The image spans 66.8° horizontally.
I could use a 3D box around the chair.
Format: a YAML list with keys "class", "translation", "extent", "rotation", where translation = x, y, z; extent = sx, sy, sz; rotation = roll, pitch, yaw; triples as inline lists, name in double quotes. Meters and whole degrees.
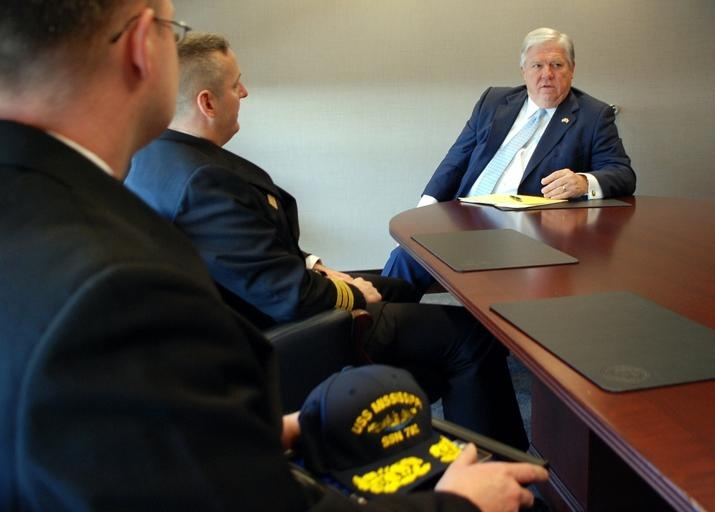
- class: "chair"
  translation: [-0.096, 0.214, 1.419]
  extent: [0.222, 0.347, 0.253]
  rotation: [-8, 13, -23]

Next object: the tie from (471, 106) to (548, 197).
- class: "tie"
  translation: [0.770, -0.508, 2.705]
  extent: [0.104, 0.552, 0.062]
  rotation: [38, 4, 39]

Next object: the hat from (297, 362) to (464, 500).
- class: "hat"
  translation: [0.015, 0.260, 0.899]
  extent: [0.156, 0.094, 0.225]
  rotation: [-11, 7, -31]

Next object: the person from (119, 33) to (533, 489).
- class: "person"
  translation: [-0.147, -0.147, 2.342]
  extent: [1.379, 2.015, 0.852]
  rotation: [-19, 14, -22]

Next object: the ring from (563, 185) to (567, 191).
- class: "ring"
  translation: [0.847, -0.281, 2.215]
  extent: [0.014, 0.021, 0.007]
  rotation: [10, 1, 36]
